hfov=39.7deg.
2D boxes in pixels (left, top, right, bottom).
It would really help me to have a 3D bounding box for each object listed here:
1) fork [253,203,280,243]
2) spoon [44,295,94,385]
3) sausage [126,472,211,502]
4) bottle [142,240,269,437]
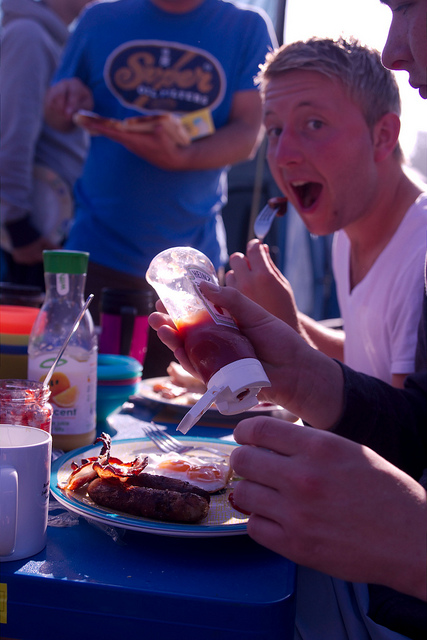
[{"bbox_3d":[0.117,-0.214,1.275,0.027,0.032,0.181,0,31,26],"label":"fork"},{"bbox_3d":[-0.221,0.034,0.882,0.022,0.160,0.008,33,-19,-10],"label":"spoon"},{"bbox_3d":[-0.056,0.197,0.692,0.094,0.023,0.023,7,-32,28],"label":"sausage"},{"bbox_3d":[-0.019,0.013,0.743,0.127,0.183,0.295,-1,14,-7],"label":"bottle"}]
